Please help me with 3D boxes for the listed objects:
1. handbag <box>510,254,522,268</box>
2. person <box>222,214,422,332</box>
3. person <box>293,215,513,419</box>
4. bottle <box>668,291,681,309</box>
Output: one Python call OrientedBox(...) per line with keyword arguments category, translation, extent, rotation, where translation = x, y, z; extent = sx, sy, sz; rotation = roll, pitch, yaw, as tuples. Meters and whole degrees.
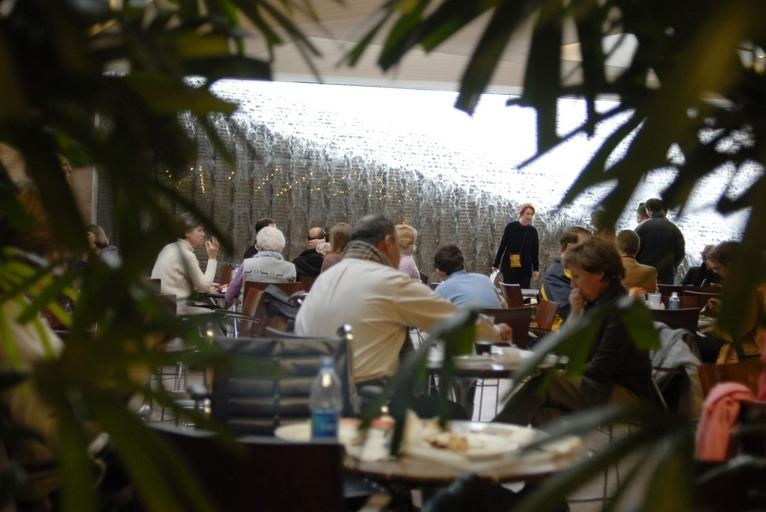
OrientedBox(category="handbag", translation=(1.543, 0.049, 8.300), extent=(0.135, 0.155, 0.055), rotation=(0, 1, -6))
OrientedBox(category="person", translation=(-0.388, 0.030, 5.828), extent=(1.756, 1.012, 0.814), rotation=(-5, 6, 1))
OrientedBox(category="person", translation=(-0.022, 0.156, 3.112), extent=(0.840, 1.142, 0.654), rotation=(10, 17, 40))
OrientedBox(category="bottle", translation=(2.213, 0.339, 5.423), extent=(0.090, 0.159, 0.093), rotation=(0, 5, 0))
